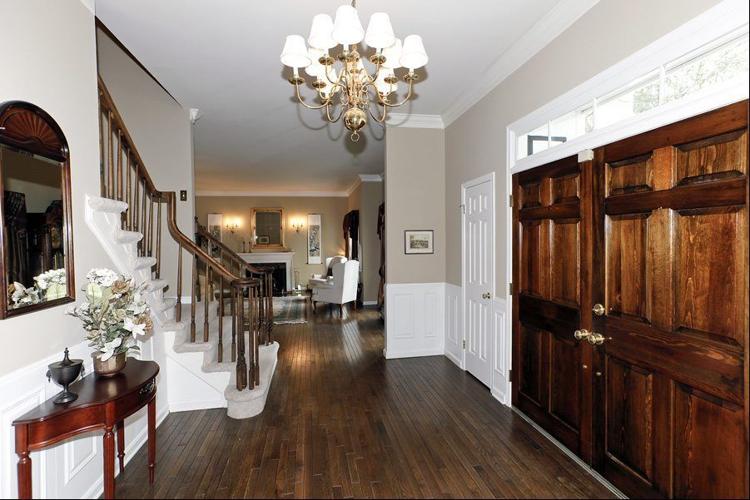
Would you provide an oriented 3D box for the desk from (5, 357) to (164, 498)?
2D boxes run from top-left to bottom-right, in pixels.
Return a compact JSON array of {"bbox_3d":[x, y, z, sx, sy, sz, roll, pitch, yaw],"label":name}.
[{"bbox_3d":[-2.349,1.410,3.820,0.530,1.124,1.249,0,0,7],"label":"desk"}]

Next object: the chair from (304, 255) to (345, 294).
[{"bbox_3d":[-1.211,0.568,11.855,0.996,1.293,1.009,2,-4,-29],"label":"chair"}]

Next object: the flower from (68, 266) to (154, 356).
[{"bbox_3d":[-2.174,0.492,4.197,0.660,0.794,0.683,4,-4,44],"label":"flower"}]

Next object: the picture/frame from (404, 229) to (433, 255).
[{"bbox_3d":[0.581,-0.113,6.850,0.332,0.286,0.028,1,-1,-12],"label":"picture/frame"}]

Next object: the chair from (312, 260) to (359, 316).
[{"bbox_3d":[-0.859,0.725,10.238,1.001,1.476,1.114,1,2,14],"label":"chair"}]

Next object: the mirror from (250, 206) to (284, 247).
[{"bbox_3d":[-2.884,-0.609,12.547,0.979,1.318,0.126,0,-2,-15],"label":"mirror"}]

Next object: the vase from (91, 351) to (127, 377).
[{"bbox_3d":[-2.214,0.951,3.988,0.211,0.147,0.221,1,-5,0],"label":"vase"}]
